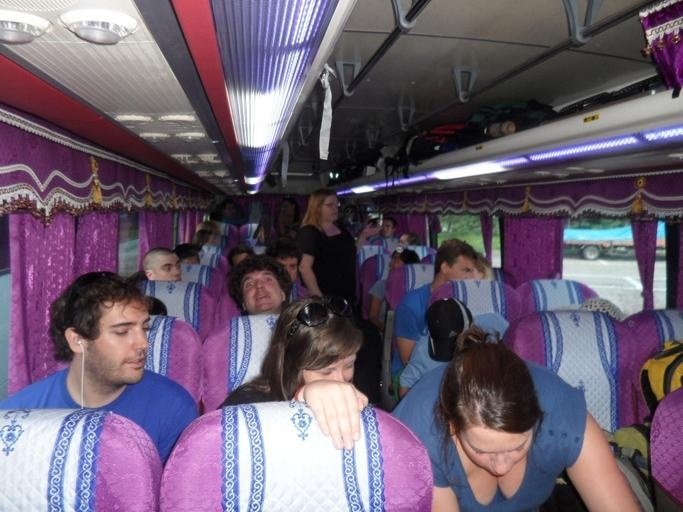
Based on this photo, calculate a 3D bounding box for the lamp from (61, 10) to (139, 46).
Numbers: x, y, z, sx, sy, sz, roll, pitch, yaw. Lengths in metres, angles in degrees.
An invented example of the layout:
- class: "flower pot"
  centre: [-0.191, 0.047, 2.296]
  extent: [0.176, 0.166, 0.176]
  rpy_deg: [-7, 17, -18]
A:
- class: "lamp"
  centre: [-0.790, -0.749, 1.562]
  extent: [0.243, 0.066, 0.140]
  rpy_deg: [0, -1, 1]

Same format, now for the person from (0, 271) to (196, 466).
- class: "person"
  centre: [-1.126, 0.505, 2.177]
  extent: [0.452, 0.788, 0.831]
  rpy_deg: [-8, -5, 33]

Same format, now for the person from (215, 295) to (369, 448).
- class: "person"
  centre: [-0.184, 0.568, 2.260]
  extent: [0.588, 0.901, 0.493]
  rpy_deg: [3, 20, -17]

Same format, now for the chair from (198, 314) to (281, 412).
- class: "chair"
  centre: [-0.612, 0.702, 2.960]
  extent: [0.406, 0.603, 0.535]
  rpy_deg: [20, -19, -6]

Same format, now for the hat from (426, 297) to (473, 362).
- class: "hat"
  centre: [0.564, 0.382, 2.615]
  extent: [0.229, 0.367, 0.182]
  rpy_deg: [12, -12, 37]

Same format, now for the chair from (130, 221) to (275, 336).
- class: "chair"
  centre: [-1.123, 0.305, 4.195]
  extent: [0.785, 1.206, 1.006]
  rpy_deg: [-2, -32, -9]
